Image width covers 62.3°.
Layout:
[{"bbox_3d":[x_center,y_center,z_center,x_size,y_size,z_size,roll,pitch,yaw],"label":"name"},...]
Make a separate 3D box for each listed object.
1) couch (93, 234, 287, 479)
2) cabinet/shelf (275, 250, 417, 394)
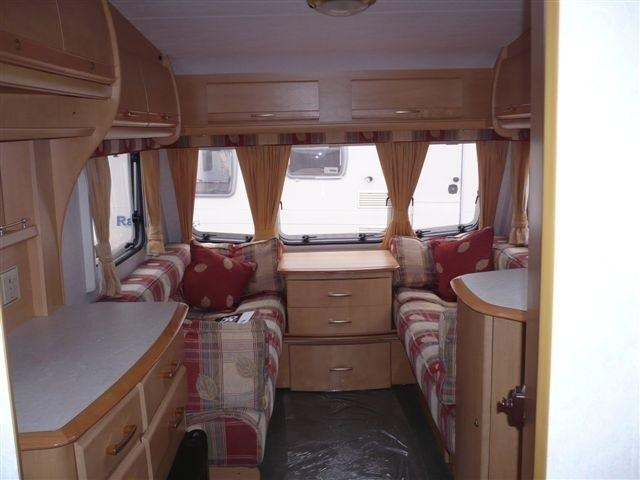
[{"bbox_3d":[-0.568,0.162,2.690,0.861,0.877,1.988,-2,11,-11],"label":"couch"},{"bbox_3d":[0.152,0.840,3.853,0.929,0.653,0.957,0,46,-1],"label":"cabinet/shelf"}]
